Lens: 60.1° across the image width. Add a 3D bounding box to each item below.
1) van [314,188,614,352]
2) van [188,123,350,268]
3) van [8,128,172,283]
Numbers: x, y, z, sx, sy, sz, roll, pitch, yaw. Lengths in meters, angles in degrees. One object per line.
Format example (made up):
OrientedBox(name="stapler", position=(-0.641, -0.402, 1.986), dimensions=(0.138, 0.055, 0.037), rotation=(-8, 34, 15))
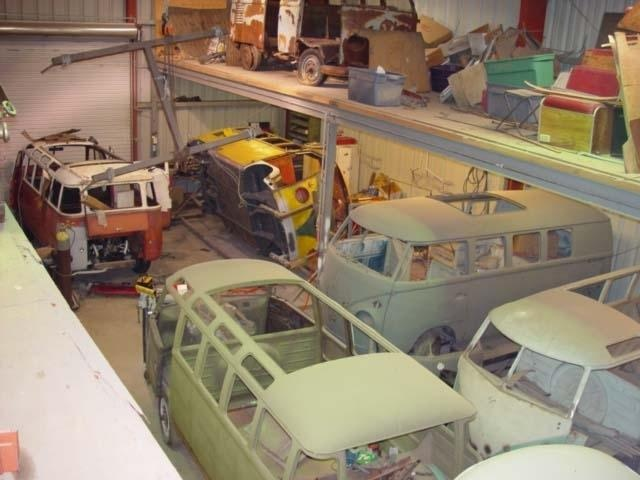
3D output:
OrientedBox(name="van", position=(2.112, 0.427, 8.430), dimensions=(4.138, 2.058, 2.151), rotation=(-10, 21, -20))
OrientedBox(name="van", position=(-0.898, -1.071, 11.147), dimensions=(1.410, 1.814, 3.888), rotation=(-23, 33, -34))
OrientedBox(name="van", position=(-4.144, -0.746, 10.120), dimensions=(2.045, 2.050, 3.521), rotation=(-10, 37, -33))
